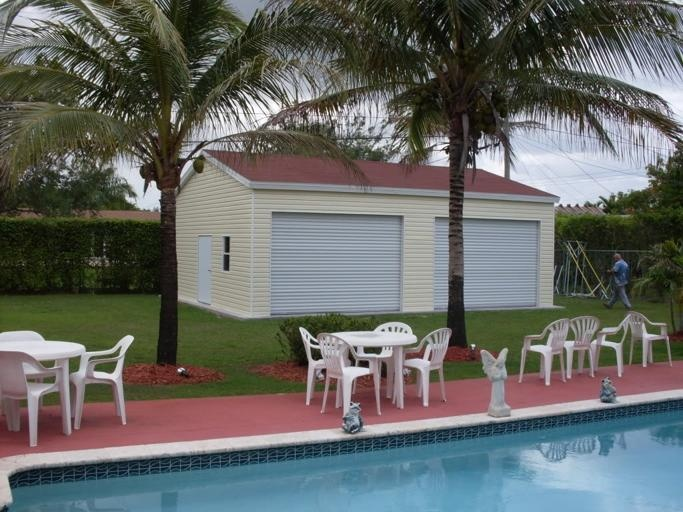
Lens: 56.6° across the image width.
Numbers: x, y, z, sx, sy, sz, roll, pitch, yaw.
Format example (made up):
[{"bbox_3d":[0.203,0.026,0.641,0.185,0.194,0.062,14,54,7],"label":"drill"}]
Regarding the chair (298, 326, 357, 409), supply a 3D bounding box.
[{"bbox_3d":[-0.222,1.707,10.191,0.843,1.445,0.924,0,1,-1],"label":"chair"}]
